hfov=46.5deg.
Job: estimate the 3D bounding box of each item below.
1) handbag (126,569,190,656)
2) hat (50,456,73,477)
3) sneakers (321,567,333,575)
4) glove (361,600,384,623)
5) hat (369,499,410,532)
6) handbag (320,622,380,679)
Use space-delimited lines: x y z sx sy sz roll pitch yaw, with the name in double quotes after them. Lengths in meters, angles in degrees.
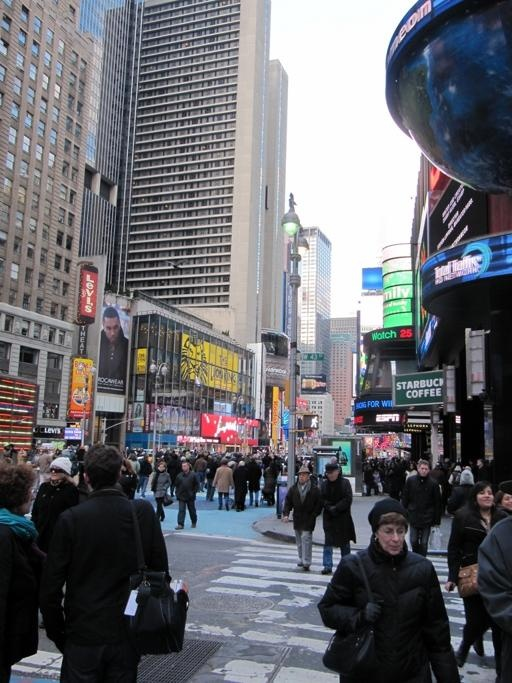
-0.487 1.385 3.063 0.265 0.381 0.243 -14 -17 41 "handbag"
-2.003 1.311 6.339 0.207 0.231 0.258 -4 -5 33 "hat"
1.183 3.895 10.128 0.084 0.122 0.258 7 -6 -16 "sneakers"
0.569 1.341 2.947 0.072 0.103 0.120 0 -12 36 "glove"
0.713 0.963 3.262 0.190 0.203 0.292 5 -10 14 "hat"
0.451 1.506 2.909 0.243 0.224 0.210 5 -9 14 "handbag"
